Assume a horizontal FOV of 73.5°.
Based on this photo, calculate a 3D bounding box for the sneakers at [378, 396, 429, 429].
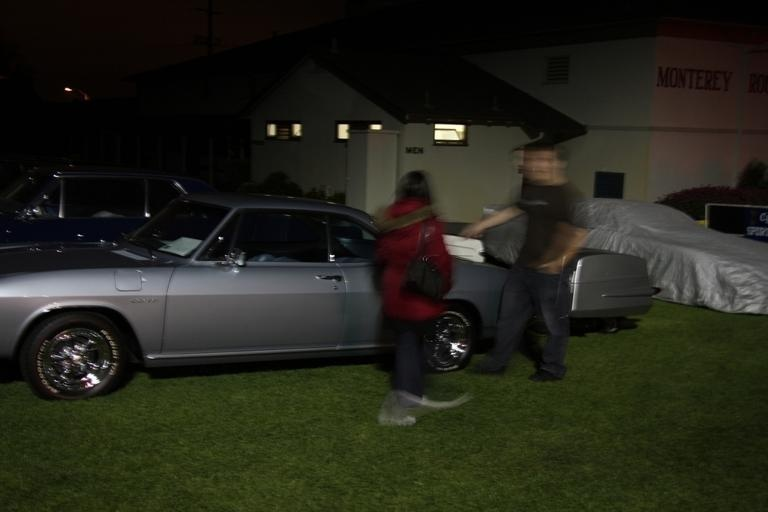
[{"bbox_3d":[0.125,1.467,4.859,0.318,0.292,0.149,13,1,0],"label":"sneakers"}]

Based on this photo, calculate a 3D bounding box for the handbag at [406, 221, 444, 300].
[{"bbox_3d":[0.389,0.061,4.645,0.390,0.666,0.159,-5,14,-36],"label":"handbag"}]

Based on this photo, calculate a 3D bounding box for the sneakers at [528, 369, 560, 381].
[{"bbox_3d":[1.821,1.348,5.853,0.402,0.147,0.133,-2,15,-3],"label":"sneakers"}]
